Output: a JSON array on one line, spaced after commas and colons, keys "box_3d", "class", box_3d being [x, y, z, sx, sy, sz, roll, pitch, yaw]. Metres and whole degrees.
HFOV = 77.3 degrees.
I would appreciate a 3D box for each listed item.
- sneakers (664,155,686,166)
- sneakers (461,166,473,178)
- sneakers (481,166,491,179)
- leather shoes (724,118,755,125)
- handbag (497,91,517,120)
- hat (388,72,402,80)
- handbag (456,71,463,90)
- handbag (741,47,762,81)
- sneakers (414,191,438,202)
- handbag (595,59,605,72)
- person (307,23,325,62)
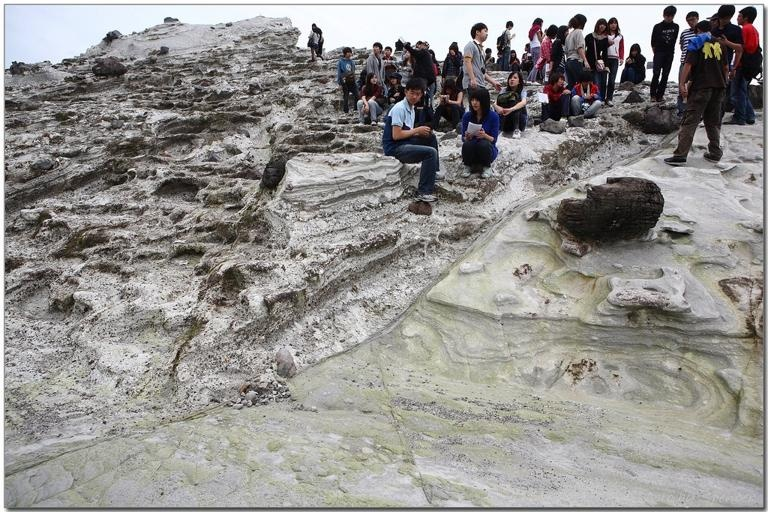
[{"box_3d": [4.279, -1.411, 7.083, 0.278, 0.152, 0.162, 10, 24, 29], "class": "sneakers"}, {"box_3d": [1.223, -1.243, 7.118, 0.153, 0.146, 0.150, 1, 21, 8], "class": "sneakers"}, {"box_3d": [1.511, -1.232, 7.093, 0.146, 0.143, 0.171, 1, 21, 8], "class": "sneakers"}, {"box_3d": [6.000, -2.268, 8.112, 0.403, 0.164, 0.138, 2, 15, 22], "class": "leather shoes"}, {"box_3d": [2.032, -2.502, 8.028, 0.320, 0.418, 0.440, 23, 17, 22], "class": "handbag"}, {"box_3d": [0.273, -3.591, 9.576, 0.267, 0.083, 0.182, 5, 2, -42], "class": "hat"}, {"box_3d": [1.517, -3.565, 9.743, 0.119, 0.300, 0.306, -3, 21, -1], "class": "handbag"}, {"box_3d": [5.954, -3.113, 7.804, 0.289, 0.499, 0.199, 13, 26, 35], "class": "handbag"}, {"box_3d": [0.603, -0.846, 6.817, 0.321, 0.152, 0.127, 0, 19, 4], "class": "sneakers"}, {"box_3d": [4.189, -3.689, 9.310, 0.152, 0.210, 0.062, 7, -9, 1], "class": "handbag"}, {"box_3d": [-2.135, -6.655, 15.106, 0.408, 1.035, 1.540, -5, 21, -7], "class": "person"}]
